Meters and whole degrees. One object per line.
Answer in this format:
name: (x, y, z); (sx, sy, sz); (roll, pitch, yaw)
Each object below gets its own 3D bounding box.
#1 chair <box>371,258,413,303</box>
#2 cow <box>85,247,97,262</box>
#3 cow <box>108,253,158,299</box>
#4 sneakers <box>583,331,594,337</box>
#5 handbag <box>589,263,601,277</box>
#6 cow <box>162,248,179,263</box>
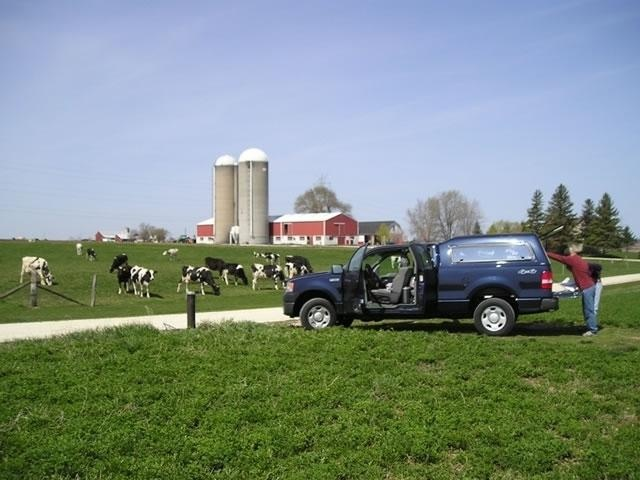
chair: (2.105, 1.303, 15.729); (1.198, 1.424, 0.924); (2, -2, 11)
cow: (-18.305, 1.170, 42.831); (0.485, 0.923, 1.688); (0, 19, -35)
cow: (-10.606, 2.080, 30.994); (1.793, 2.458, 4.824); (-1, -5, -16)
sneakers: (7.515, 2.619, 14.974); (0.376, 0.160, 0.140); (1, -3, 19)
handbag: (7.782, 0.833, 15.110); (0.251, 0.317, 0.309); (-8, -20, -4)
cow: (-13.032, 1.204, 46.762); (0.977, 1.427, 2.635); (0, 2, -42)
